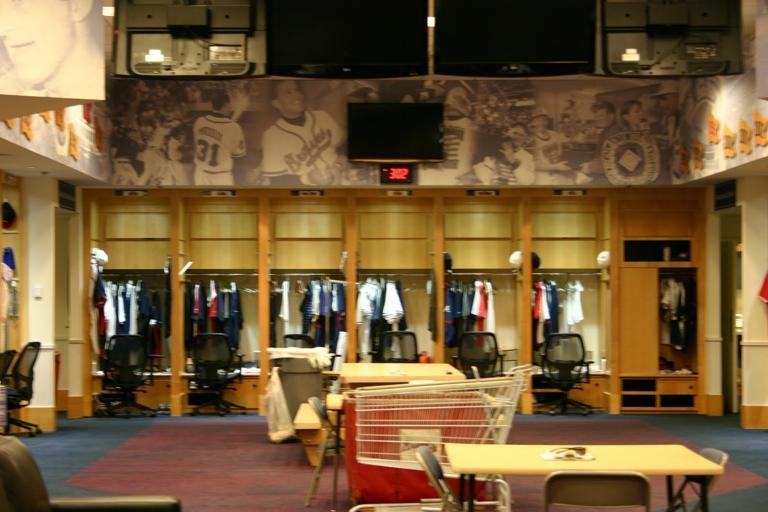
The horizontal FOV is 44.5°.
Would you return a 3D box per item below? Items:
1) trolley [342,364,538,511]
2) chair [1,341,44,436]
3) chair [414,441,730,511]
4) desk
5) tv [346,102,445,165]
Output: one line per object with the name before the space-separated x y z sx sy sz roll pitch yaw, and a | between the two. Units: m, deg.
trolley | 0.402 1.930 9.946 2.387 1.517 1.307 2 -7 1
chair | -4.878 1.807 12.688 0.475 1.265 0.912 -3 9 -19
chair | 1.813 2.072 8.697 2.433 0.539 0.751 0 7 1
desk | 0.012 2.019 11.335 2.095 1.469 1.377 0 -7 -3
tv | 0.240 -1.812 13.617 1.687 0.820 0.182 5 12 33
